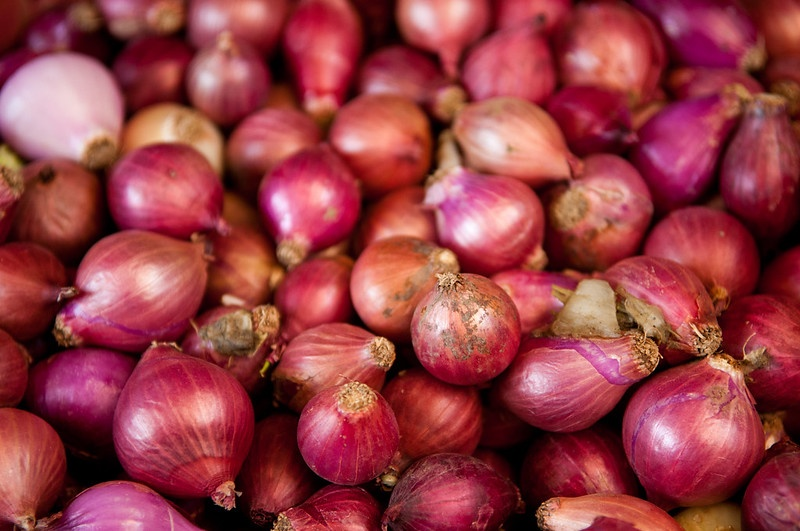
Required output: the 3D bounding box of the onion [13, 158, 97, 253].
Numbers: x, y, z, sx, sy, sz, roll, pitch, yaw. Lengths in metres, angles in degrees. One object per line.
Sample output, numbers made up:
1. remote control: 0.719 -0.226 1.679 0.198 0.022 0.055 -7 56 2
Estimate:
1. onion: -0.693 -0.115 1.717 0.157 0.129 0.155 5 48 8
